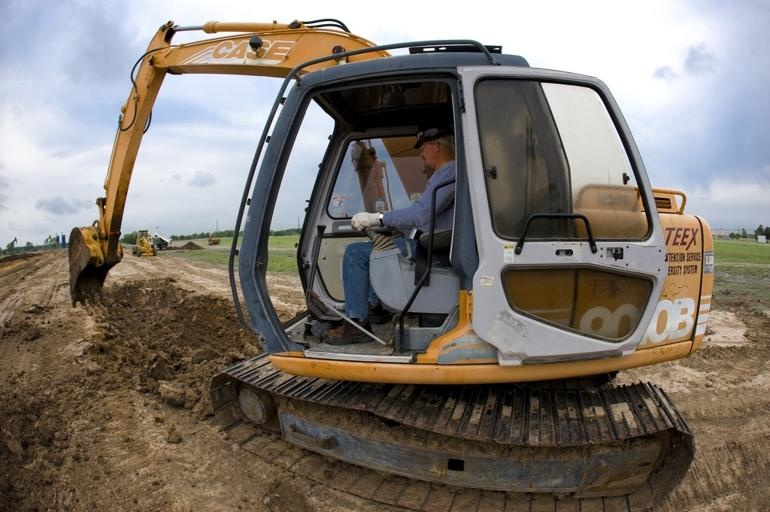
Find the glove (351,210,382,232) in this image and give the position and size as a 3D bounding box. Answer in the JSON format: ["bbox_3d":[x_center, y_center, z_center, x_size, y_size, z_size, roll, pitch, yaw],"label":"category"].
[{"bbox_3d":[-0.198,-0.347,4.678,0.286,0.174,0.386,-3,-3,-3],"label":"glove"}]

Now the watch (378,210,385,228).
[{"bbox_3d":[-0.047,-0.373,4.505,0.051,0.088,0.113,3,33,6],"label":"watch"}]
